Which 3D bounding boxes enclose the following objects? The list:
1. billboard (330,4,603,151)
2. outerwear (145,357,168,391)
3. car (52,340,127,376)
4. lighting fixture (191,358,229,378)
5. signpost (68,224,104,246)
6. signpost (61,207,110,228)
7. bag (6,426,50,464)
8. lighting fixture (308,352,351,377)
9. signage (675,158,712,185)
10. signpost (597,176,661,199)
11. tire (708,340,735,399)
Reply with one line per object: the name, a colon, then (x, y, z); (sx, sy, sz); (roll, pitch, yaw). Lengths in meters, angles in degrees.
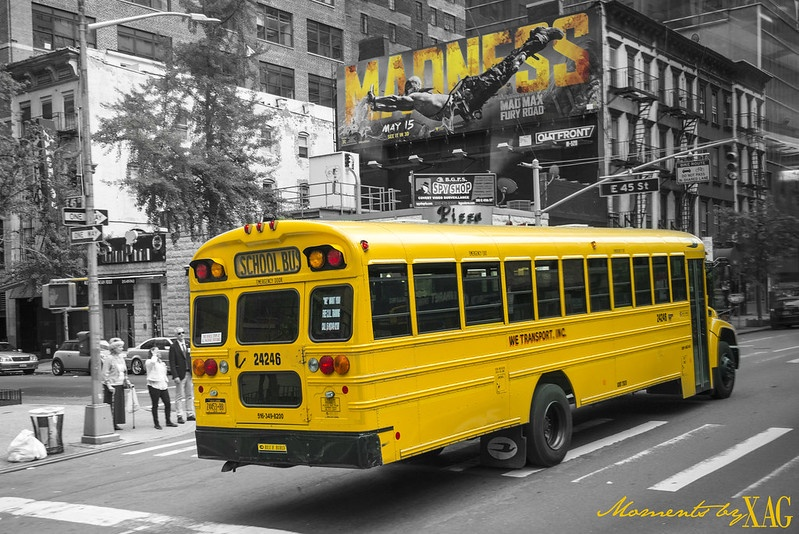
billboard: (4.104, -11.170, 56.588); (15.458, 5.074, 0.256); (-3, -5, 37)
outerwear: (-7.057, 3.090, 26.932); (0.529, 1.013, 0.511); (-6, 9, -17)
car: (-15.172, 4.244, 44.584); (2.943, 1.584, 1.611); (-2, 7, 20)
lighting fixture: (-4.227, 2.231, 20.491); (0.413, 0.337, 0.682); (-2, -5, 25)
signpost: (-8.804, -0.876, 25.977); (0.978, 0.475, 0.250); (-3, 9, 4)
signpost: (-8.886, -1.414, 26.230); (1.097, 0.574, 0.855); (-4, 8, -7)
bag: (-9.707, 4.624, 24.372); (0.847, 0.705, 0.860); (0, 2, 27)
lighting fixture: (-1.448, 2.061, 19.525); (0.918, 0.392, 0.357); (-2, -9, 38)
signage: (14.628, -4.644, 46.127); (1.487, 1.058, 1.902); (-2, 8, 12)
signpost: (9.673, -3.314, 38.964); (1.274, 0.675, 2.896); (-6, 8, -15)
tire: (9.162, 2.904, 26.422); (0.595, 1.371, 1.447); (-5, -19, 34)
